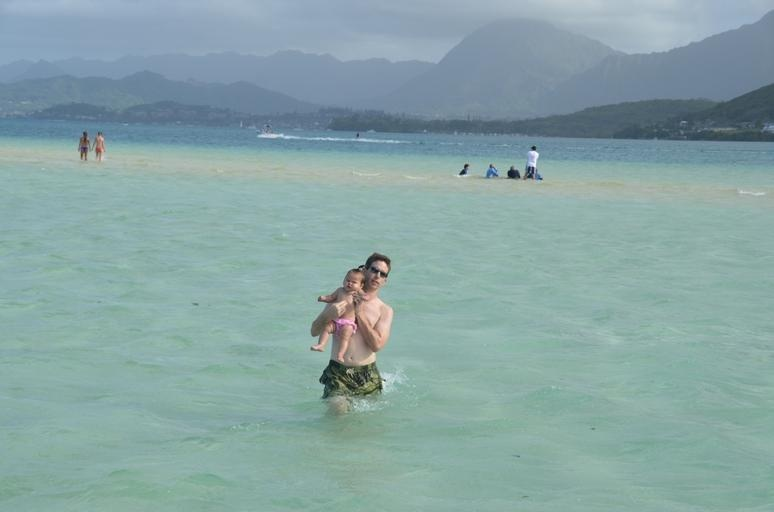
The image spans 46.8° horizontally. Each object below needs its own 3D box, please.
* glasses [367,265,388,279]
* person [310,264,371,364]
[{"bbox_3d":[-0.010,0.214,13.640,0.333,0.176,0.132,5,16,12],"label":"glasses"},{"bbox_3d":[-0.554,0.919,13.695,0.489,1.442,0.973,12,18,29],"label":"person"}]
